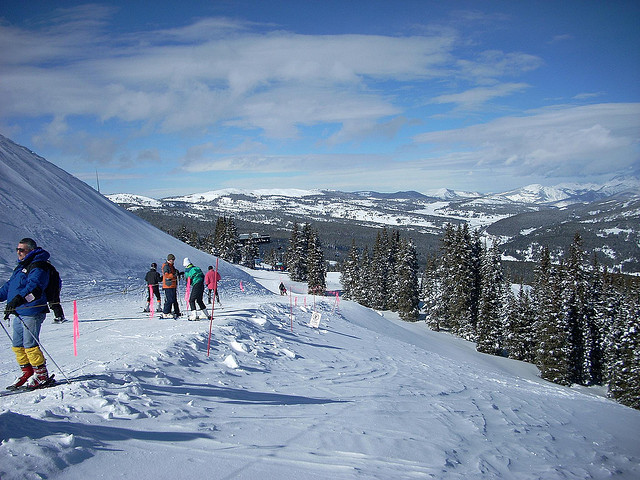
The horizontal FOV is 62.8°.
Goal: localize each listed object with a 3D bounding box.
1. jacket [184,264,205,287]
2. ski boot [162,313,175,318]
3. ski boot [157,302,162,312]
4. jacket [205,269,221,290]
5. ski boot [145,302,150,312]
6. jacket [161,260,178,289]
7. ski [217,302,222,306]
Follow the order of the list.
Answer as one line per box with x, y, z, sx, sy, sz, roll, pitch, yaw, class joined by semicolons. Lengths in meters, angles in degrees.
-5.121;1.433;21.487;0.640;0.864;0.632;6;-5;-40;jacket
-6.370;3.172;22.000;0.580;0.202;0.175;0;-1;-1;ski boot
-7.333;3.085;24.078;0.197;0.410;0.647;4;-4;-16;ski boot
-4.954;1.825;24.137;0.641;0.897;0.979;3;-4;-12;jacket
-7.836;3.039;23.870;0.203;0.415;0.703;4;-5;-20;ski boot
-5.903;1.362;20.692;0.556;1.144;0.692;4;-4;-14;jacket
-5.426;3.453;28.479;0.241;0.214;0.112;7;-2;-7;ski
